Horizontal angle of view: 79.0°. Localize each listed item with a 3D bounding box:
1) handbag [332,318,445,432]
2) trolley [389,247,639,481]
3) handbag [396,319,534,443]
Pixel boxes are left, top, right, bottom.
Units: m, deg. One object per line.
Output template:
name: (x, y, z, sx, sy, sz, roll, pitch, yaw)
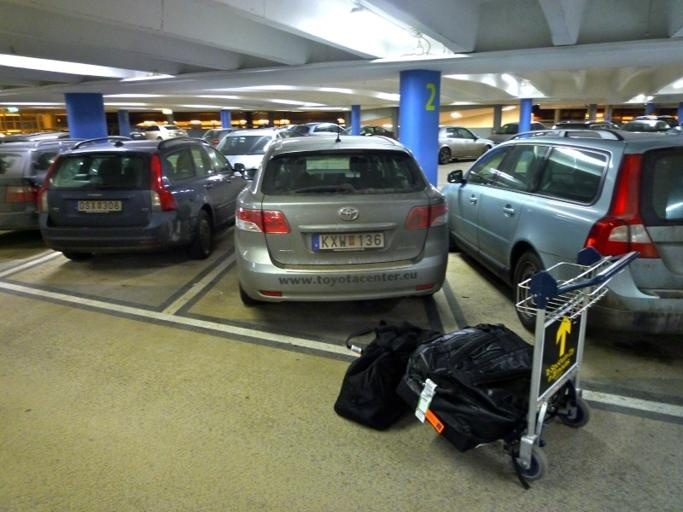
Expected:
handbag: (0.286, 0.801, 2.985, 0.776, 0.318, 0.572, -47, 30, -24)
trolley: (1.023, 0.587, 2.643, 1.085, 1.050, 1.426, -8, 8, -29)
handbag: (0.952, 0.742, 2.757, 0.977, 0.288, 0.681, -18, 59, -36)
